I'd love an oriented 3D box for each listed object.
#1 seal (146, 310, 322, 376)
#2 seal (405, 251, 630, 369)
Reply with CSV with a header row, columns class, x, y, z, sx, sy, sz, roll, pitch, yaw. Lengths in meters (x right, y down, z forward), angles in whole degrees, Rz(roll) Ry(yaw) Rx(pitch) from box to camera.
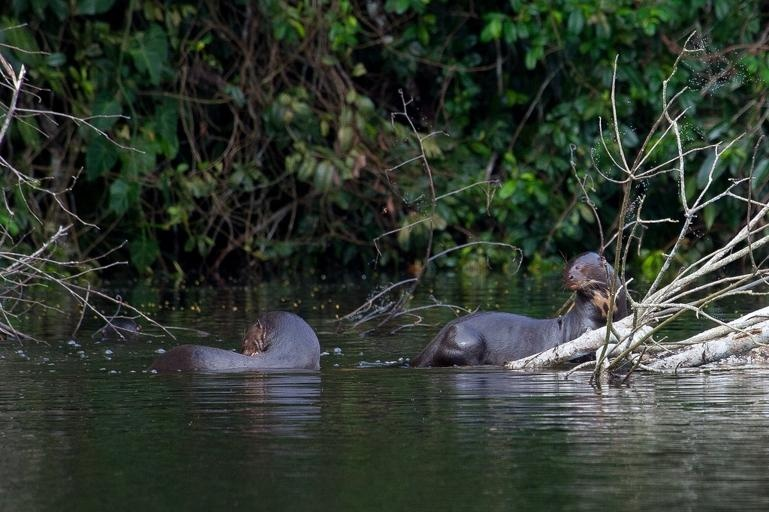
class,x,y,z,sx,sy,sz,roll,pitch,yaw
seal,-1.196,0.641,9.645,1.300,0.592,0.524,1,0,-22
seal,1.040,0.524,9.852,1.840,0.866,0.636,-7,2,18
